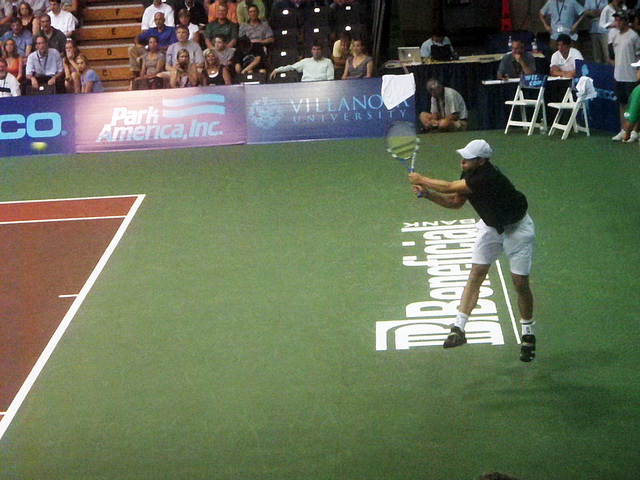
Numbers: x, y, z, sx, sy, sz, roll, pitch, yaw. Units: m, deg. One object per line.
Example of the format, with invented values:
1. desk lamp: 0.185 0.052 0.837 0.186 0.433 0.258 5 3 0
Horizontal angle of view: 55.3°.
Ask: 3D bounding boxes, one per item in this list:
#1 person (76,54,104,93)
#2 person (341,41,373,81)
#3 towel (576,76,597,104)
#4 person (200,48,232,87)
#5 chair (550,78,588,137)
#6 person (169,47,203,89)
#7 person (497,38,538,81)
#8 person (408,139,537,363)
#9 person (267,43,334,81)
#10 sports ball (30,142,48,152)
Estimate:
1. person: -6.279 -4.477 16.545 0.541 0.977 0.574 -10 19 -20
2. person: 0.970 -4.781 16.280 0.916 0.923 0.472 6 20 29
3. towel: 5.991 -3.358 13.787 0.421 0.564 0.309 -1 18 9
4. person: -2.833 -4.629 16.398 0.805 0.913 1.894 -8 18 -14
5. chair: 5.877 -3.135 14.451 0.840 1.267 1.696 3 19 20
6. person: -3.656 -4.596 16.355 0.800 0.973 0.809 -10 19 -20
7. person: 4.951 -4.477 15.327 0.956 0.917 0.623 -2 18 4
8. person: 1.714 0.120 6.552 1.107 2.329 0.705 0 18 11
9. person: -0.245 -4.593 16.260 1.040 0.783 1.651 31 46 25
10. sports ball: -7.102 -2.330 15.440 0.428 0.233 0.106 -1 18 8
